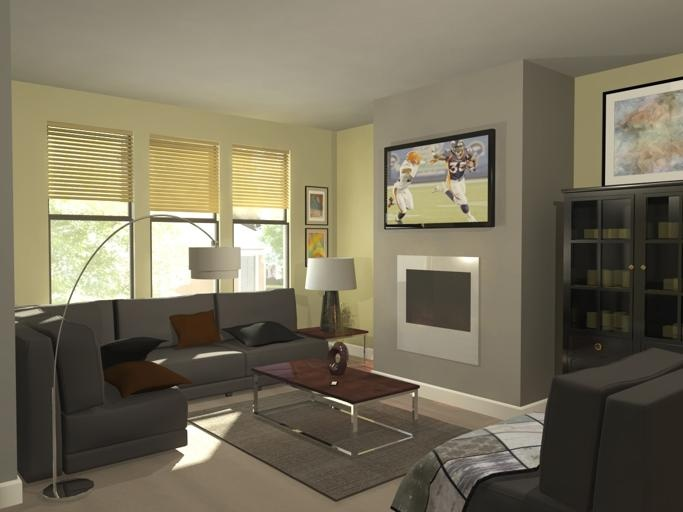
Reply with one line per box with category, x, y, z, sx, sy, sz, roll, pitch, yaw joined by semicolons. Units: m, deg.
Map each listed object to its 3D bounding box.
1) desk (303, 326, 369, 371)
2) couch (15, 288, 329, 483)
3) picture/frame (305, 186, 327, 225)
desk;-0.158;1.045;6.349;0.609;0.396;0.630;1;-2;-40
couch;-1.658;0.904;5.147;1.768;1.097;3.442;3;6;28
picture/frame;-0.379;-0.732;7.380;0.397;0.556;0.061;-4;7;-37
